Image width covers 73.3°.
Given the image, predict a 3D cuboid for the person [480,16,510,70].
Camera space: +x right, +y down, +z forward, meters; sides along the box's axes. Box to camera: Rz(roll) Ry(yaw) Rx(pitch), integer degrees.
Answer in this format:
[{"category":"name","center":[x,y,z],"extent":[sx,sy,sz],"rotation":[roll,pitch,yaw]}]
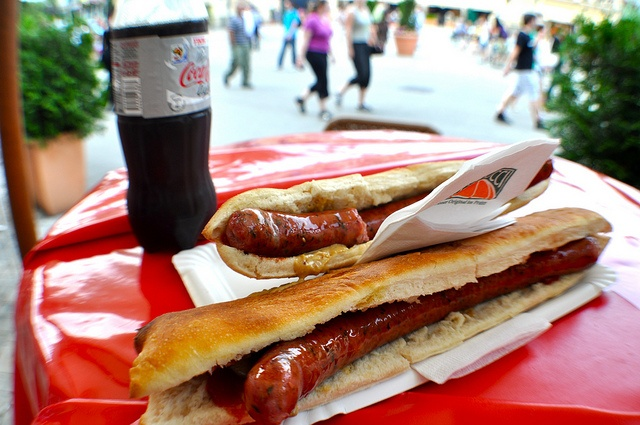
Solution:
[{"category":"person","center":[5.740,-5.705,14.275],"extent":[0.382,1.399,1.415],"rotation":[9,10,25]}]

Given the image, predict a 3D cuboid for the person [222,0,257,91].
[{"category":"person","center":[-1.726,-3.501,9.077],"extent":[0.556,1.667,1.320],"rotation":[1,26,-10]}]

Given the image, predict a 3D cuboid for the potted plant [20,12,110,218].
[{"category":"potted plant","center":[-2.498,-0.994,4.224],"extent":[0.630,1.848,0.847],"rotation":[-5,28,-21]}]
